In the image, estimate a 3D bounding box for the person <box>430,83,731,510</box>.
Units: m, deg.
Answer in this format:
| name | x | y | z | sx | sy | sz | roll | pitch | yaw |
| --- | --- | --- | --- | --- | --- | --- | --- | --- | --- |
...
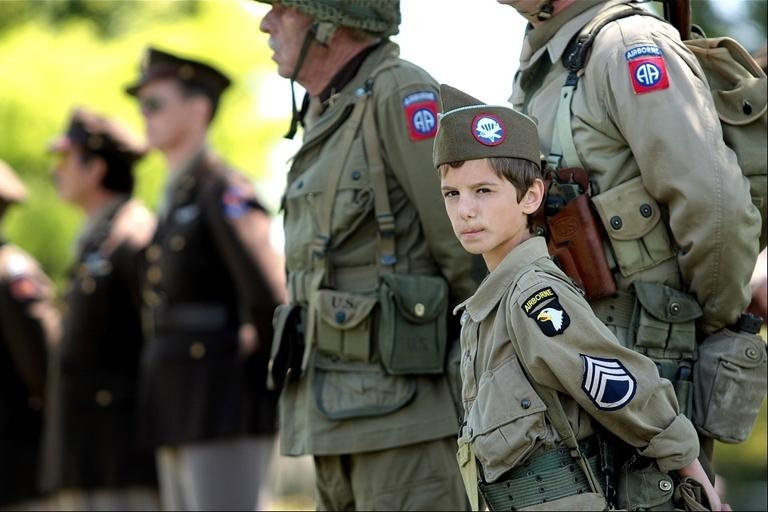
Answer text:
| name | x | y | z | sx | sy | sz | roll | pitch | yaw |
| --- | --- | --- | --- | --- | --- | --- | --- | --- | --- |
| person | 0.842 | 0.182 | 5.888 | 1.061 | 2.150 | 0.689 | -7 | -22 | 3 |
